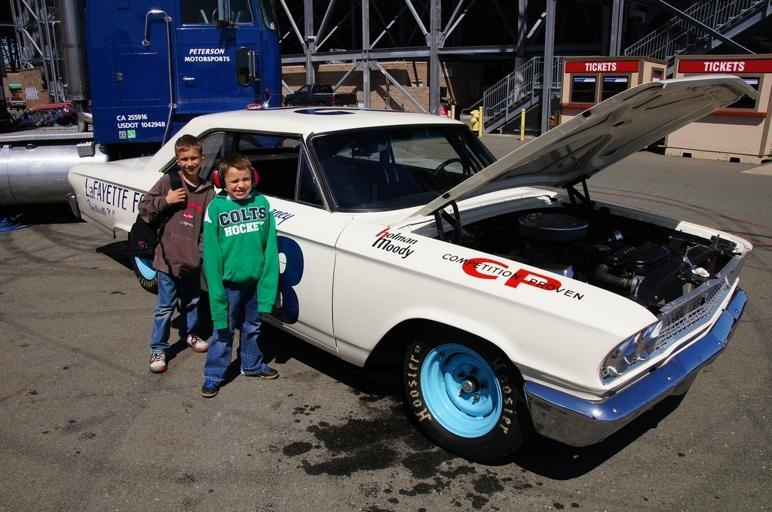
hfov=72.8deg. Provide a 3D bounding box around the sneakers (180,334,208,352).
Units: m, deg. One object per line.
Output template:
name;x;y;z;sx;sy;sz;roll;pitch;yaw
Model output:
sneakers;-1.975;0.892;5.403;0.127;0.129;0.330;-24;20;-38

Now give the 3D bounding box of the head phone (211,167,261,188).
head phone;-1.329;-0.705;4.671;0.576;0.214;0.478;0;10;-6

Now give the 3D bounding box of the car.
car;0.820;-0.158;4.616;4.195;2.747;2.338;13;25;28
